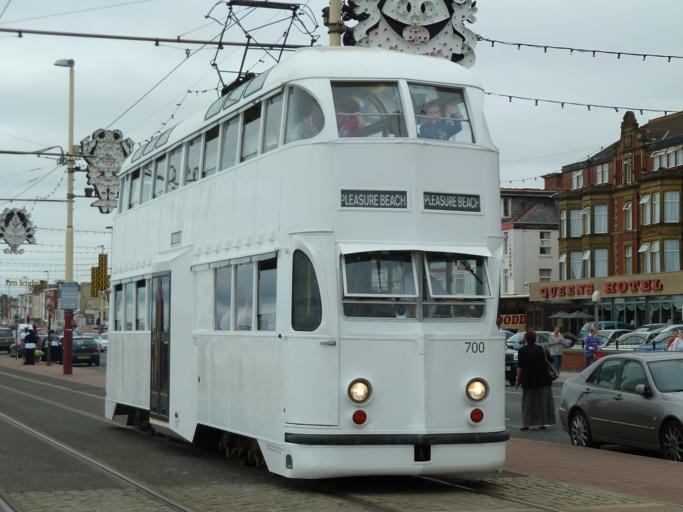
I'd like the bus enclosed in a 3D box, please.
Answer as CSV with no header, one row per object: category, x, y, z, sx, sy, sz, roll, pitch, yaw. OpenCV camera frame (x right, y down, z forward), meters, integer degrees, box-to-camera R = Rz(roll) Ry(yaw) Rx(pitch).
bus,-0.343,0.410,14.655,2.521,3.631,7.204,0,-1,-22

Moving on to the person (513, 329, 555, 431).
person,3.962,2.556,21.056,0.781,2.025,0.988,4,0,22
